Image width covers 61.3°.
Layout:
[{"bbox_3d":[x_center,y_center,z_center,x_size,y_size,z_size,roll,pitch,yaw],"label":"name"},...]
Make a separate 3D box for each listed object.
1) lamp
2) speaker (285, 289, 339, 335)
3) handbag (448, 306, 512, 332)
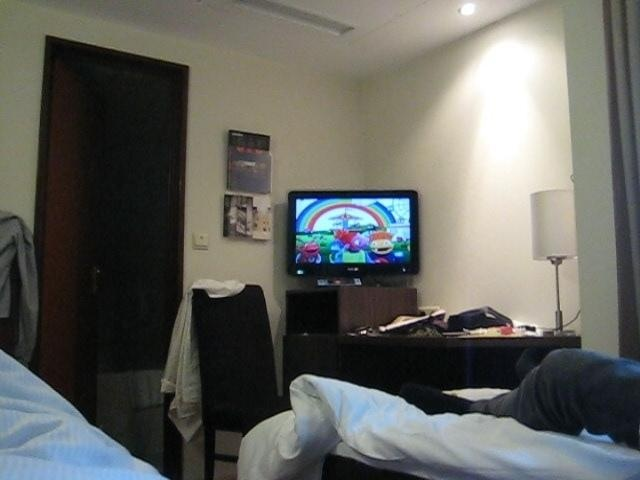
[{"bbox_3d":[1.242,0.093,2.886,0.217,0.763,0.433,-1,-4,22],"label":"lamp"},{"bbox_3d":[-0.038,0.477,3.570,0.093,0.248,0.275,7,-10,-44],"label":"speaker"},{"bbox_3d":[0.903,0.452,3.103,0.220,0.076,0.187,-4,-5,-2],"label":"handbag"}]
